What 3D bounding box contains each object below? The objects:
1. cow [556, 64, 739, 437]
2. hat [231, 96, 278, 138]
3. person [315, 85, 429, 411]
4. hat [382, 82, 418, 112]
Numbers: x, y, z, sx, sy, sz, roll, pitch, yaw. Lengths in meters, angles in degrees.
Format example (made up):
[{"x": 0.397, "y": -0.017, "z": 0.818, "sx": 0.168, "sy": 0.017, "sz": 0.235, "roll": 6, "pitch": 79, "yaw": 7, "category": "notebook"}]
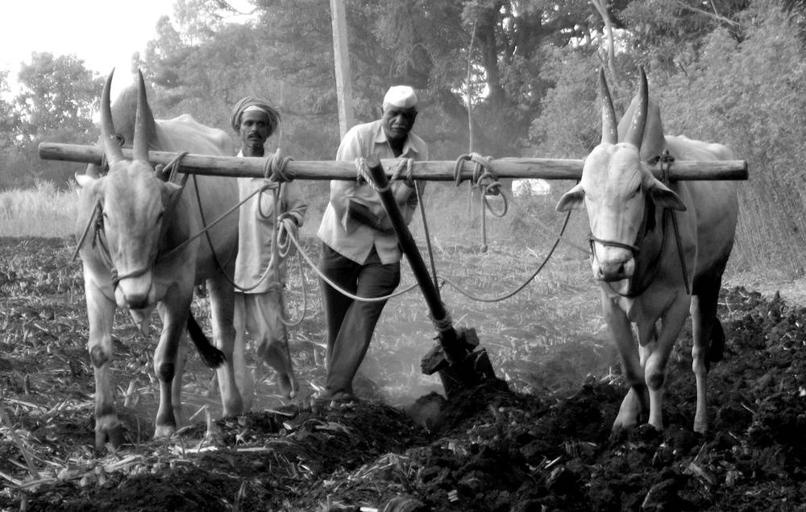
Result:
[{"x": 2.371, "y": -0.039, "z": 8.627, "sx": 1.066, "sy": 3.329, "sz": 2.075, "roll": 10, "pitch": 14, "yaw": 37, "category": "cow"}, {"x": -1.522, "y": -1.556, "z": 9.956, "sx": 0.515, "sy": 0.279, "sz": 0.460, "roll": -15, "pitch": 13, "yaw": -15, "category": "hat"}, {"x": -0.346, "y": -0.076, "z": 9.235, "sx": 1.092, "sy": 3.152, "sz": 0.963, "roll": -2, "pitch": 12, "yaw": -16, "category": "person"}, {"x": -0.042, "y": -1.576, "z": 9.269, "sx": 0.327, "sy": 0.230, "sz": 0.400, "roll": 1, "pitch": 13, "yaw": -1, "category": "hat"}]
